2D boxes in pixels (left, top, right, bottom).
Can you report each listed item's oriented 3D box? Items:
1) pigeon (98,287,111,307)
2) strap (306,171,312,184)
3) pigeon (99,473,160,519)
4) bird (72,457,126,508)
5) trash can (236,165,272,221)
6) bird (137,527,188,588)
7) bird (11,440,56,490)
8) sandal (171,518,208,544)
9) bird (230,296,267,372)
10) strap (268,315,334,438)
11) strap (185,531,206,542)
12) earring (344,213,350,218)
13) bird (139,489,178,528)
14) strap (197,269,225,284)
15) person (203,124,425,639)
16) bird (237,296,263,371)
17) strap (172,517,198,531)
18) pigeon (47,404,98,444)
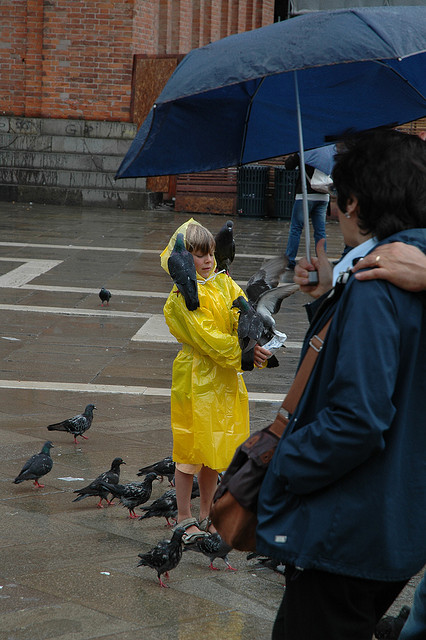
[{"bbox_3d":[-1.368,-0.290,10.136,0.126,0.224,0.407,4,8,-8],"label":"pigeon"},{"bbox_3d":[1.329,-2.017,11.383,0.048,0.040,0.379,-7,-11,18],"label":"strap"},{"bbox_3d":[-0.521,0.943,4.457,0.432,0.235,0.141,5,-15,-9],"label":"pigeon"},{"bbox_3d":[-0.649,0.916,4.566,0.338,0.226,0.110,-3,-2,-22],"label":"bird"},{"bbox_3d":[1.097,-3.238,20.157,0.891,1.049,0.930,8,13,26],"label":"trash can"},{"bbox_3d":[-0.235,1.032,3.550,0.182,0.210,0.231,8,9,20],"label":"bird"},{"bbox_3d":[-1.045,0.870,4.820,0.154,0.221,0.325,2,7,44],"label":"bird"},{"bbox_3d":[-0.101,1.022,3.948,0.079,0.084,0.222,0,-13,-36],"label":"sandal"},{"bbox_3d":[0.161,0.050,3.661,0.134,0.349,0.235,-11,-30,18],"label":"bird"},{"bbox_3d":[0.238,0.161,2.179,0.054,0.448,0.070,-5,38,-38],"label":"strap"},{"bbox_3d":[-0.080,1.041,3.929,0.060,0.026,0.072,-10,-2,1],"label":"strap"},{"bbox_3d":[0.355,-0.278,2.135,0.017,0.006,0.021,8,0,-5],"label":"earring"},{"bbox_3d":[-0.282,0.965,4.215,0.188,0.165,0.228,4,8,-4],"label":"bird"},{"bbox_3d":[-0.017,-0.227,4.082,0.032,0.034,0.152,29,36,20],"label":"strap"},{"bbox_3d":[0.312,0.197,2.102,0.407,1.418,0.507,1,10,-24],"label":"person"},{"bbox_3d":[0.184,0.063,3.634,0.168,0.289,0.177,4,18,14],"label":"bird"},{"bbox_3d":[-0.138,0.991,3.977,0.111,0.034,0.056,-18,-2,4],"label":"strap"},{"bbox_3d":[-0.929,0.717,5.735,0.488,0.308,0.152,4,-15,-20],"label":"pigeon"}]
